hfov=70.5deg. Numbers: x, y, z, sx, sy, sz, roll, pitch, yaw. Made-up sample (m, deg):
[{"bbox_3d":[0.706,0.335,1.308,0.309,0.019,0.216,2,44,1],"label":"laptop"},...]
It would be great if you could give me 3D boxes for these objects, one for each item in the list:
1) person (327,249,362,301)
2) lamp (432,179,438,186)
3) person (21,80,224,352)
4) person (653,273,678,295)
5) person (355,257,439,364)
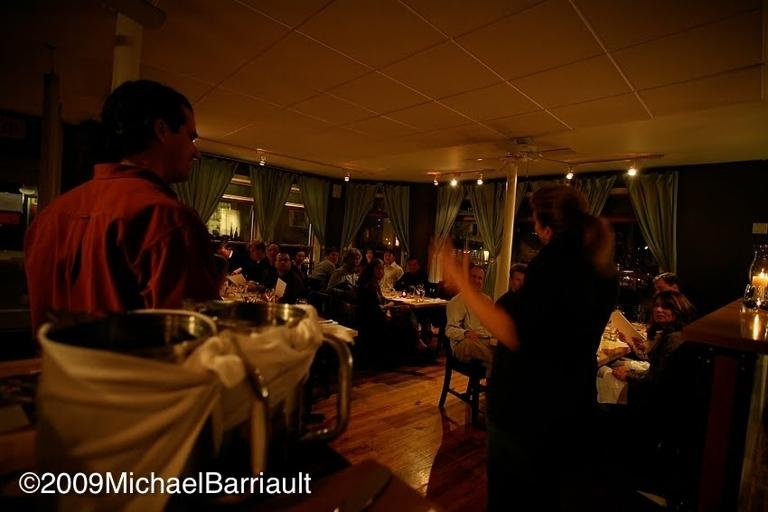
[{"bbox_3d":[-0.510,0.266,7.106,0.266,0.858,0.477,10,-6,27],"label":"person"},{"bbox_3d":[0.951,-1.345,10.027,0.081,0.062,0.154,18,-9,30],"label":"lamp"},{"bbox_3d":[-1.138,-0.175,2.516,1.021,1.290,0.469,14,5,35],"label":"person"},{"bbox_3d":[2.895,0.284,5.641,0.188,0.232,0.864,13,5,25],"label":"person"},{"bbox_3d":[0.109,0.693,6.584,0.582,1.058,1.021,15,5,42],"label":"person"}]
